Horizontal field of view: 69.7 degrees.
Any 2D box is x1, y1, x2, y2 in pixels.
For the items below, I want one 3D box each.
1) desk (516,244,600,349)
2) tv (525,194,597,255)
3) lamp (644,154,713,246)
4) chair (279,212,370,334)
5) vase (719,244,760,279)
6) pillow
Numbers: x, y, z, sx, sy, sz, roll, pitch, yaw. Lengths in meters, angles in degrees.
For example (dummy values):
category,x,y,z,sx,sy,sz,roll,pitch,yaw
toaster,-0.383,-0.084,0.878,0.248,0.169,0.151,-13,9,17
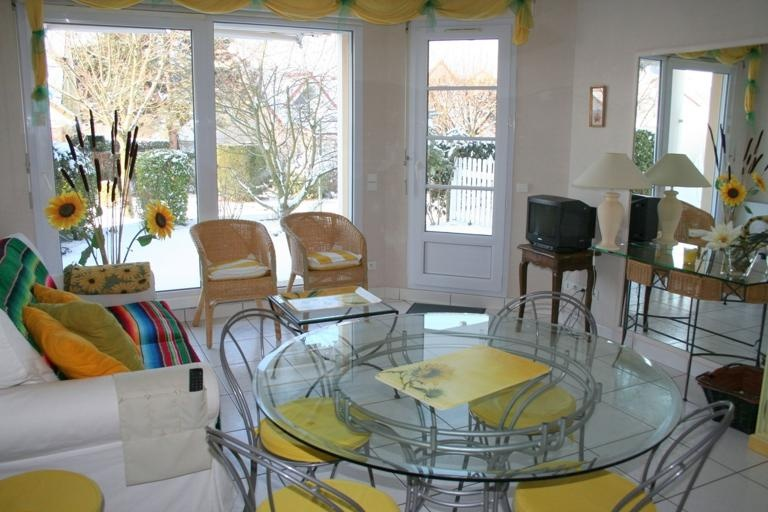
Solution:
category,x,y,z,sx,sy,sz,roll,pitch,yaw
desk,1.421,0.252,5.011,0.479,0.597,0.402,20,13,31
tv,1.601,-0.285,5.022,0.547,0.516,0.569,-4,8,-19
lamp,2.267,-0.444,4.527,0.675,0.798,0.629,-6,6,-40
chair,-0.558,0.038,5.407,0.900,1.119,0.875,-5,7,-28
vase,2.553,0.044,3.918,0.204,0.204,0.359,-5,6,40
pillow,-1.597,0.439,2.912,0.390,0.291,0.735,-8,26,-36
